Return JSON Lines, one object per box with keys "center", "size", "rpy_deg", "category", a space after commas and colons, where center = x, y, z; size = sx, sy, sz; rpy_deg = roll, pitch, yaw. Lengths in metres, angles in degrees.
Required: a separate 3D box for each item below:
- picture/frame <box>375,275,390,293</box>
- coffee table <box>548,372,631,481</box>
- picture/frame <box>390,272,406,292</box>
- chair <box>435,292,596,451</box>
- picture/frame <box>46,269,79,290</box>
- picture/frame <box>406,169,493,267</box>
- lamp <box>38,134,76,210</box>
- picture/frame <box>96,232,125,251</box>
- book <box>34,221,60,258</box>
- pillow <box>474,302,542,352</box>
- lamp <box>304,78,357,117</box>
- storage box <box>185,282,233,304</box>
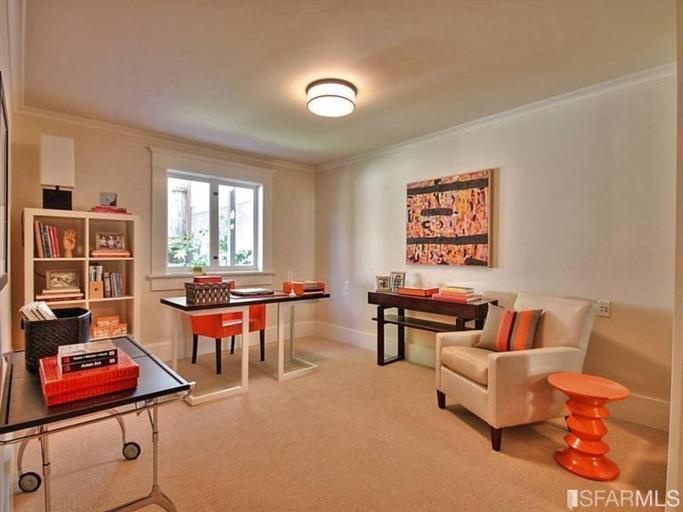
{"center": [0.507, 0.329, 5.613], "size": [0.186, 0.199, 0.016], "rpy_deg": [1, -1, 38], "category": "picture/frame"}
{"center": [1.763, 1.233, 3.582], "size": [0.616, 0.659, 0.631], "rpy_deg": [0, -1, -10], "category": "coffee table"}
{"center": [0.666, 0.303, 5.471], "size": [0.202, 0.283, 0.029], "rpy_deg": [4, -3, 22], "category": "picture/frame"}
{"center": [1.446, 0.911, 4.002], "size": [0.992, 1.121, 0.829], "rpy_deg": [-1, 2, -20], "category": "chair"}
{"center": [-2.674, 0.218, 4.527], "size": [0.269, 0.179, 0.167], "rpy_deg": [-1, 2, -30], "category": "picture/frame"}
{"center": [1.214, -0.420, 5.095], "size": [0.113, 1.047, 1.103], "rpy_deg": [-1, 1, -41], "category": "picture/frame"}
{"center": [-2.707, -0.786, 4.482], "size": [0.295, 0.689, 0.234], "rpy_deg": [-1, 2, -25], "category": "lamp"}
{"center": [-2.331, -0.155, 4.770], "size": [0.291, 0.208, 0.162], "rpy_deg": [1, 2, -41], "category": "picture/frame"}
{"center": [-2.726, -0.156, 4.374], "size": [0.096, 0.322, 0.235], "rpy_deg": [0, 1, 1], "category": "book"}
{"center": [1.460, 0.627, 4.165], "size": [0.326, 0.572, 0.638], "rpy_deg": [11, -11, -42], "category": "pillow"}
{"center": [-0.089, -1.431, 4.302], "size": [0.479, 0.166, 0.493], "rpy_deg": [2, -8, -12], "category": "lamp"}
{"center": [-1.276, 0.347, 4.396], "size": [0.257, 0.160, 0.257], "rpy_deg": [2, -3, -40], "category": "storage box"}
